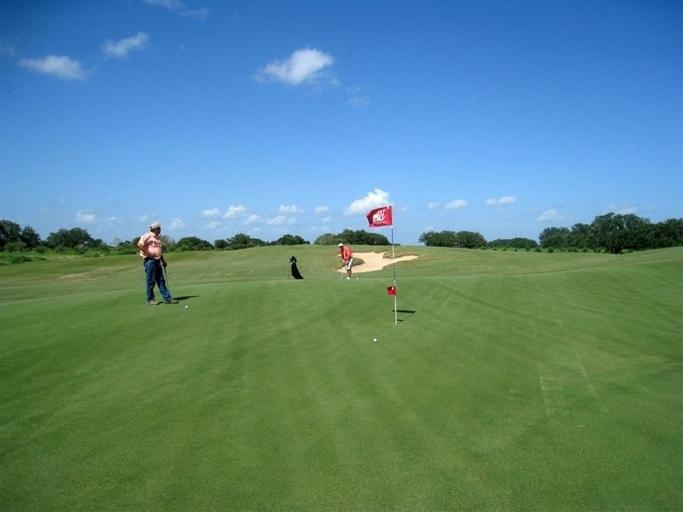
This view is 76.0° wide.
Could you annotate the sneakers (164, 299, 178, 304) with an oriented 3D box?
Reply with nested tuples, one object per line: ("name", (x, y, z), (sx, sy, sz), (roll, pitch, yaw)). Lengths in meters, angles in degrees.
("sneakers", (-6.097, 1.628, 15.566), (0.374, 0.160, 0.158), (-3, 3, -16))

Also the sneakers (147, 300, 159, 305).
("sneakers", (-6.626, 1.645, 15.332), (0.461, 0.200, 0.166), (0, -6, 21))

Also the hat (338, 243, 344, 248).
("hat", (-0.080, -0.623, 25.302), (0.242, 0.224, 0.216), (1, -3, 3))
